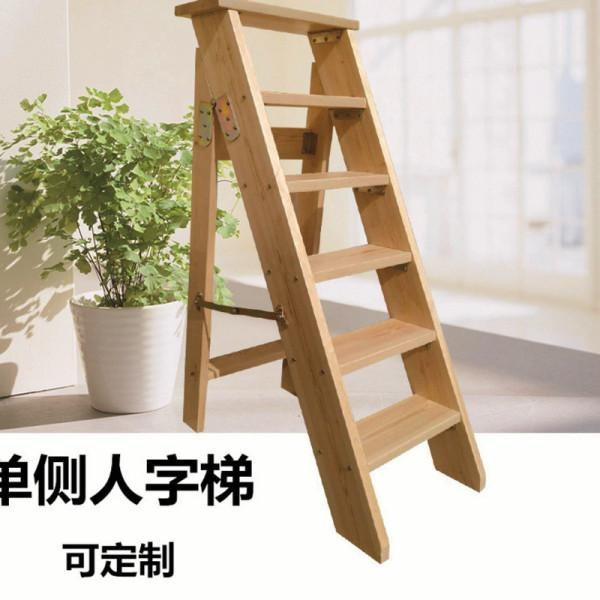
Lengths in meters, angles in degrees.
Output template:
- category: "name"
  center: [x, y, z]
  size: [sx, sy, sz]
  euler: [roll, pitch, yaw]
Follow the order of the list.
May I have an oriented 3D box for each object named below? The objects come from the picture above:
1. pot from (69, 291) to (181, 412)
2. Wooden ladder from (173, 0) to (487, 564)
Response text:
- category: "pot"
  center: [-0.711, 0.232, 2.529]
  size: [0.468, 0.392, 0.495]
  euler: [0, 1, 0]
- category: "Wooden ladder"
  center: [0.071, -0.104, 1.721]
  size: [0.791, 1.417, 0.631]
  euler: [11, 16, 40]
